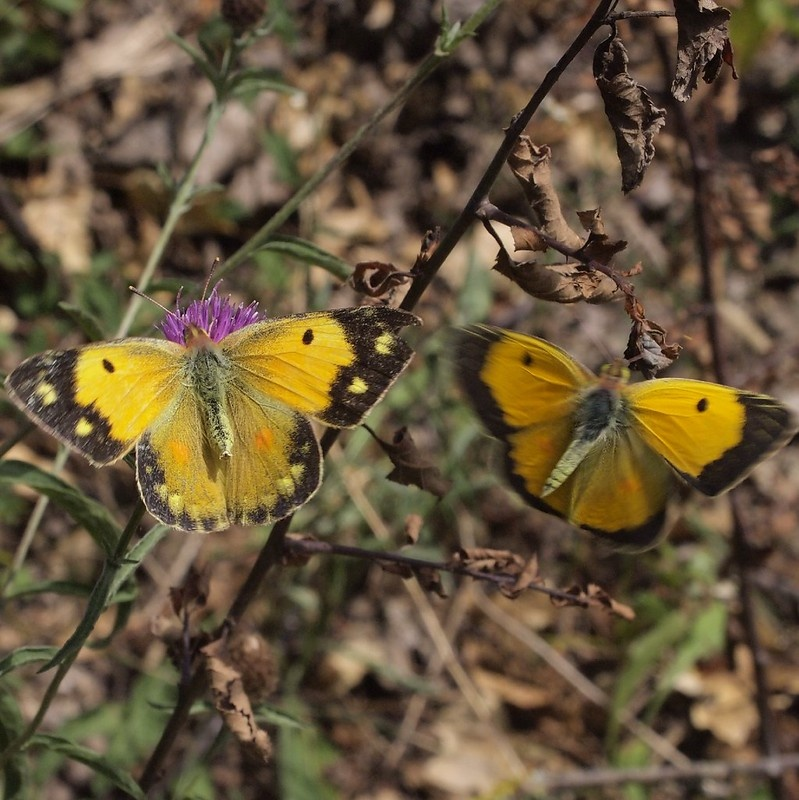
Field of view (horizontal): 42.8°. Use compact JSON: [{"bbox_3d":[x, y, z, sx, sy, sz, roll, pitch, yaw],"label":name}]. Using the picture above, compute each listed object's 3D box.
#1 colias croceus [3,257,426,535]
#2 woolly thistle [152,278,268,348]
[{"bbox_3d":[-0.489,0.023,2.765,0.624,0.599,0.851,-20,-53,-26],"label":"colias croceus"},{"bbox_3d":[-0.558,-0.222,3.016,0.326,0.225,0.228,-7,-56,-14],"label":"woolly thistle"}]
